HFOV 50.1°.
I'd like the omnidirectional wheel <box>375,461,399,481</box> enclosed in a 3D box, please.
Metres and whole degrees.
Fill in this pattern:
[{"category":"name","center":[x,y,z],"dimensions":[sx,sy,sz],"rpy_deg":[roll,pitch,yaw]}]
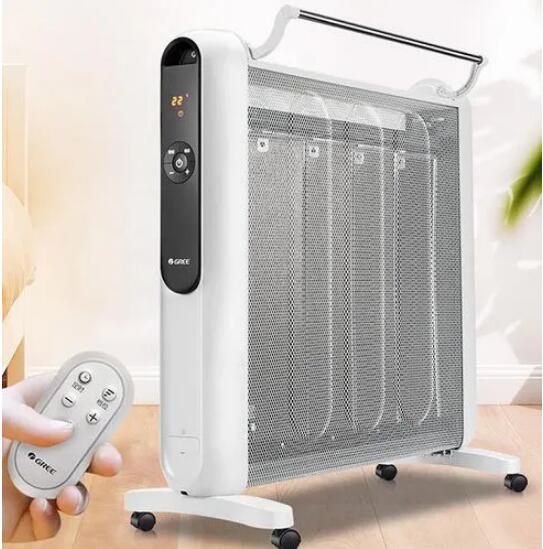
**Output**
[{"category":"omnidirectional wheel","center":[0.213,0.364,1.075],"dimensions":[0.025,0.032,0.034],"rpy_deg":[4,1,-9]}]

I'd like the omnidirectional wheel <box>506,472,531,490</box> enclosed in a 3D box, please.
[{"category":"omnidirectional wheel","center":[0.423,0.357,1.002],"dimensions":[0.026,0.041,0.037],"rpy_deg":[2,2,-10]}]

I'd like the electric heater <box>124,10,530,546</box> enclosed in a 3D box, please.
[{"category":"electric heater","center":[0.085,-0.010,0.948],"dimensions":[0.617,0.765,0.215],"rpy_deg":[0,1,-37]}]
